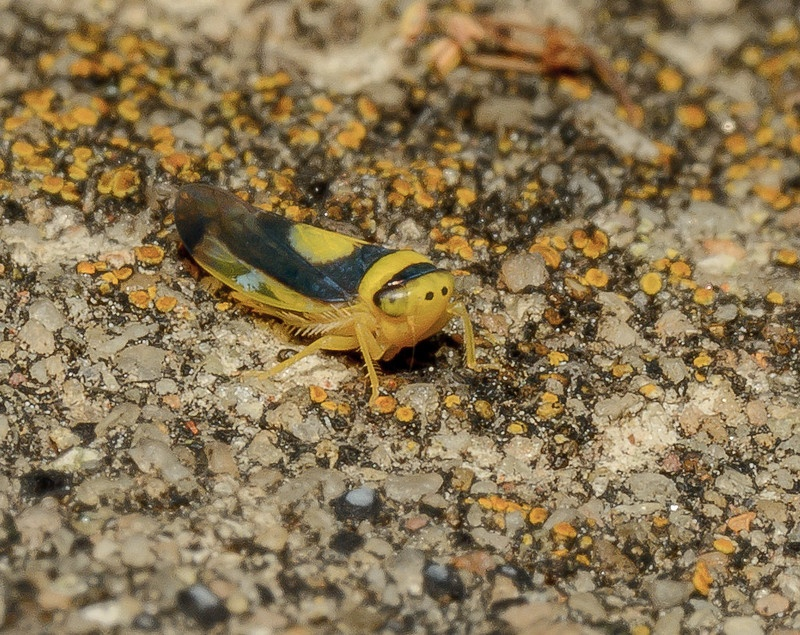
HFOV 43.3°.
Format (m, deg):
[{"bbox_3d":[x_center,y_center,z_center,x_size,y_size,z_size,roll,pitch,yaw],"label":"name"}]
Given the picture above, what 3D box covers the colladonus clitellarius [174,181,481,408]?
[{"bbox_3d":[-0.163,-0.064,1.966,0.503,0.187,0.387,31,41,19],"label":"colladonus clitellarius"}]
